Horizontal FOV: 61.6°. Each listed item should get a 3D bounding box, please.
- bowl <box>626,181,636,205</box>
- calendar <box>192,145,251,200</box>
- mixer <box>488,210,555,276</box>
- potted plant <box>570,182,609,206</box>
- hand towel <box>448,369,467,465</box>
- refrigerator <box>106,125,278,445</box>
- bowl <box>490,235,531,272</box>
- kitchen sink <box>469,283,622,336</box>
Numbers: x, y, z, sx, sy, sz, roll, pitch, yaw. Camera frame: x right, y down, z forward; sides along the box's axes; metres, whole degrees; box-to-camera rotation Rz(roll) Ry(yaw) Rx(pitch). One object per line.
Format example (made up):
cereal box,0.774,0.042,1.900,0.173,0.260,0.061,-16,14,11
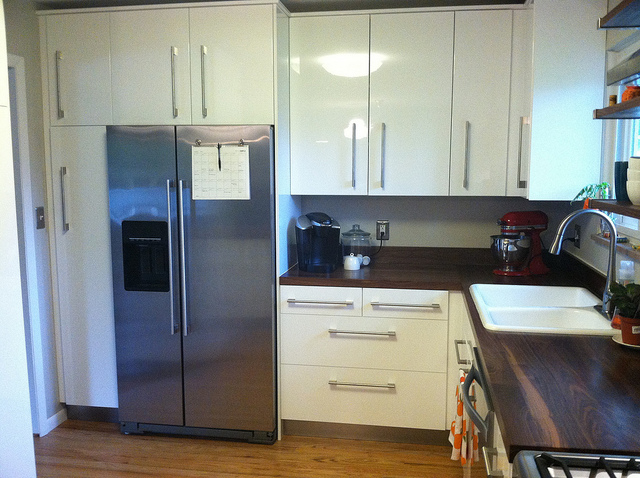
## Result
bowl,1.323,-0.198,2.279,0.025,0.102,0.061,1,14,18
calendar,-0.597,-0.404,3.255,0.349,0.324,0.071,-1,13,11
mixer,1.292,0.011,3.446,0.371,0.406,0.246,0,11,0
potted plant,1.535,-0.264,3.048,0.187,0.118,0.150,3,15,23
hand towel,0.613,0.793,2.366,0.070,0.511,0.389,0,14,14
refrigerator,-0.816,0.230,3.614,0.965,1.922,0.653,3,11,0
bowl,1.244,0.076,3.489,0.267,0.277,0.311,0,18,14
kitchen sink,1.151,0.324,2.820,0.582,0.201,0.555,1,5,8
